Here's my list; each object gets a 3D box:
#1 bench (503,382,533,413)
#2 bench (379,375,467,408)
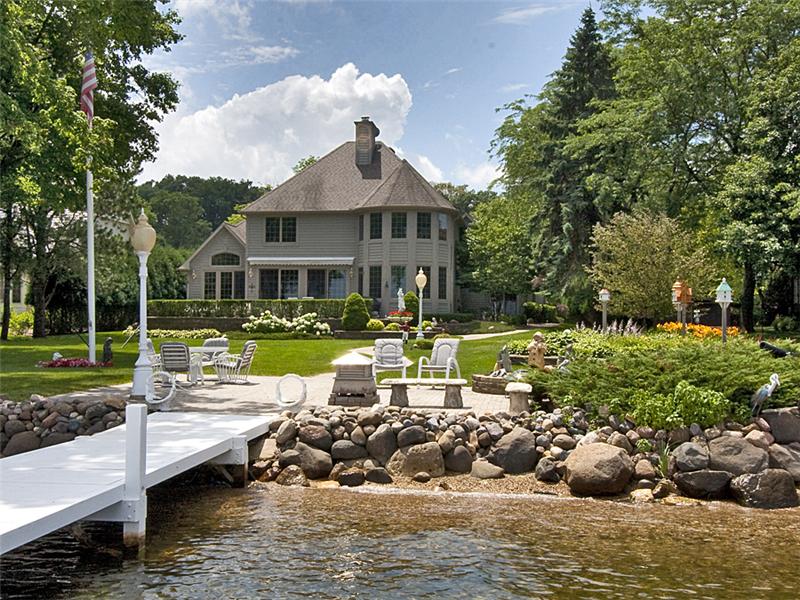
[{"bbox_3d":[2.532,2.088,18.088,0.578,0.694,0.596,0,-3,-2],"label":"bench"},{"bbox_3d":[0.698,2.182,19.646,1.755,0.665,1.442,-1,-5,11],"label":"bench"}]
